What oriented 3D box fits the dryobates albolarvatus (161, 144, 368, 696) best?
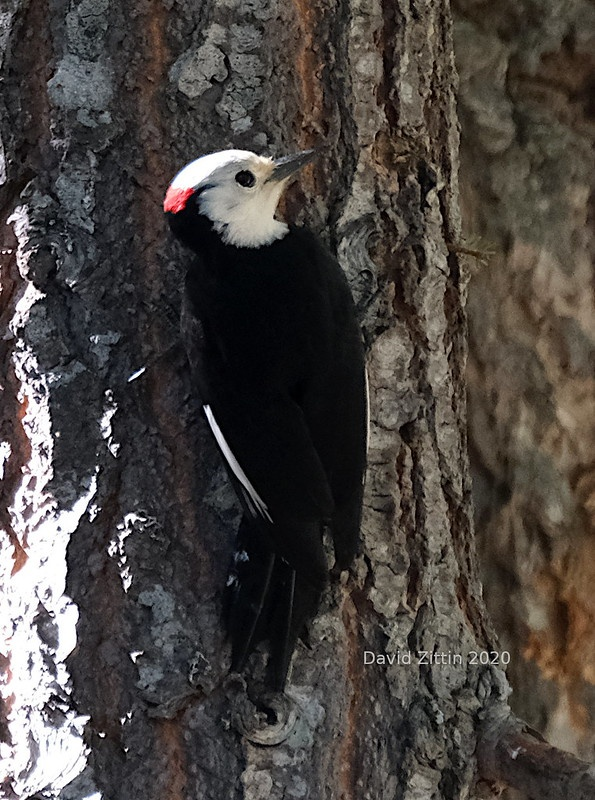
[{"bbox_3d":[-0.042,-0.046,3.054,0.300,0.462,1.362,-2,89,6],"label":"dryobates albolarvatus"}]
